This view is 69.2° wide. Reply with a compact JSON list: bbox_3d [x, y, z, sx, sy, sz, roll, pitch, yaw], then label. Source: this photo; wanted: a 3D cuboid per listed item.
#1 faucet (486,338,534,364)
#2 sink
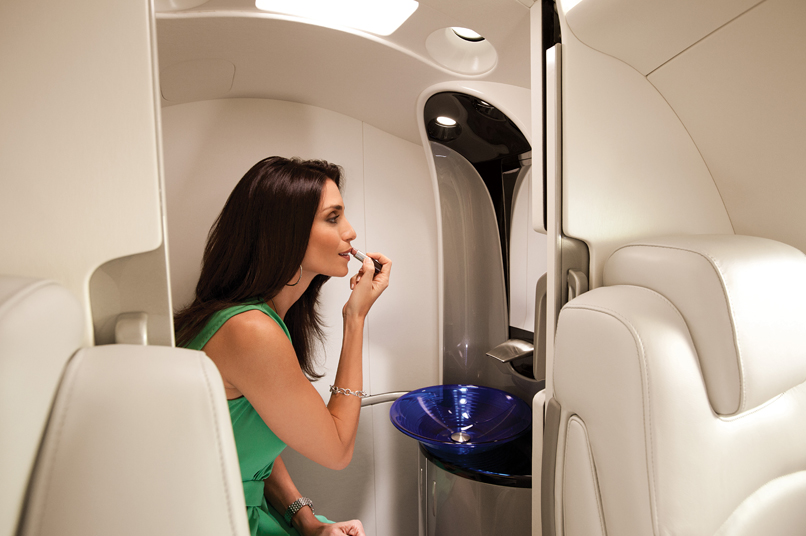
[{"bbox_3d":[0.384,0.293,2.082,0.096,0.029,0.101,-22,17,-30],"label":"faucet"},{"bbox_3d":[0.191,0.505,2.034,0.498,0.231,0.423,-10,-19,31],"label":"sink"}]
